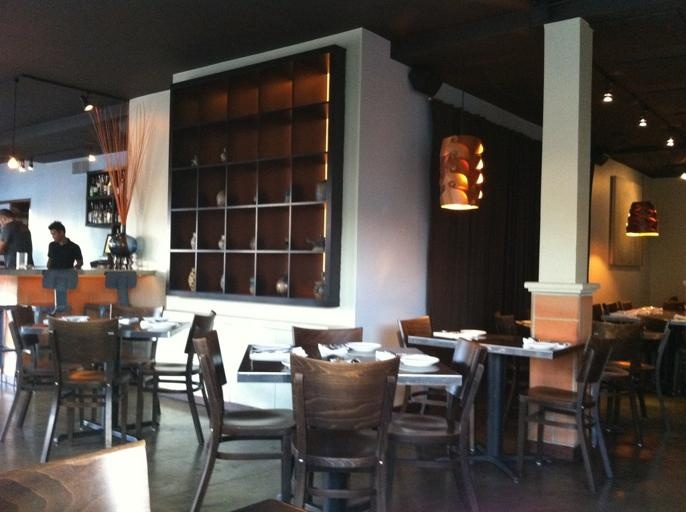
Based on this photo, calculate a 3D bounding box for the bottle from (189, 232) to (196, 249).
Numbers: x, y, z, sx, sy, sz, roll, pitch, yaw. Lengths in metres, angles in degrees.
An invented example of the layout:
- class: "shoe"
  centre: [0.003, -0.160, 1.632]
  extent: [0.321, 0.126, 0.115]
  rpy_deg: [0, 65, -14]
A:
- class: "bottle"
  centre: [-1.660, -0.173, 6.640]
  extent: [0.063, 0.175, 0.127]
  rpy_deg: [8, -9, -31]

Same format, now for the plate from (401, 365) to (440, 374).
- class: "plate"
  centre: [0.468, 0.695, 3.679]
  extent: [0.250, 0.038, 0.208]
  rpy_deg: [-1, 0, 3]

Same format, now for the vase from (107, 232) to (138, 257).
- class: "vase"
  centre: [-2.612, -0.117, 7.021]
  extent: [0.325, 0.285, 0.265]
  rpy_deg: [1, -3, 30]

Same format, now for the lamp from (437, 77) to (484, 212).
- class: "lamp"
  centre: [0.953, -0.689, 4.801]
  extent: [0.330, 0.694, 0.191]
  rpy_deg: [-1, 0, 3]

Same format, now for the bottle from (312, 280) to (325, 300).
- class: "bottle"
  centre: [-0.244, 0.332, 5.731]
  extent: [0.061, 0.156, 0.129]
  rpy_deg: [3, 2, -9]

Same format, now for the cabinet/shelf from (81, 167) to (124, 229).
- class: "cabinet/shelf"
  centre: [-3.789, -0.909, 9.425]
  extent: [0.396, 1.185, 1.243]
  rpy_deg: [1, -1, -34]

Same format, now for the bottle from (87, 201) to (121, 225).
- class: "bottle"
  centre: [-3.893, -0.697, 9.748]
  extent: [0.508, 0.295, 0.152]
  rpy_deg: [-1, -3, 34]
